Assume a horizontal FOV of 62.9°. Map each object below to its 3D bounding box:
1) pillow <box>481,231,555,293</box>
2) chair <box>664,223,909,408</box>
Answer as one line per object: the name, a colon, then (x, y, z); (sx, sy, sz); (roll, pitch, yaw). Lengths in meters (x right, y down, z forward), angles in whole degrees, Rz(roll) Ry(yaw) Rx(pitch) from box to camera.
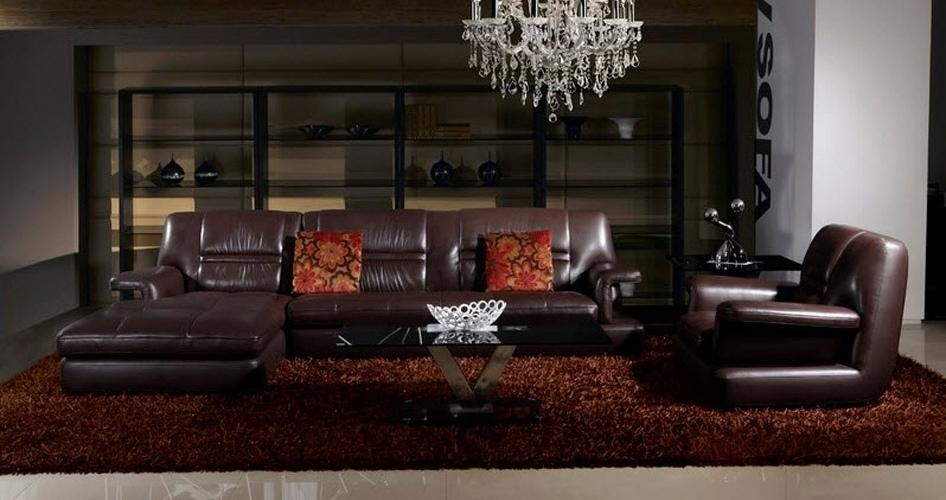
pillow: (0.468, 0.139, 7.891); (0.686, 0.555, 0.223); (0, -15, 2)
chair: (2.741, 0.468, 7.272); (1.860, 1.453, 1.809); (0, 3, 2)
